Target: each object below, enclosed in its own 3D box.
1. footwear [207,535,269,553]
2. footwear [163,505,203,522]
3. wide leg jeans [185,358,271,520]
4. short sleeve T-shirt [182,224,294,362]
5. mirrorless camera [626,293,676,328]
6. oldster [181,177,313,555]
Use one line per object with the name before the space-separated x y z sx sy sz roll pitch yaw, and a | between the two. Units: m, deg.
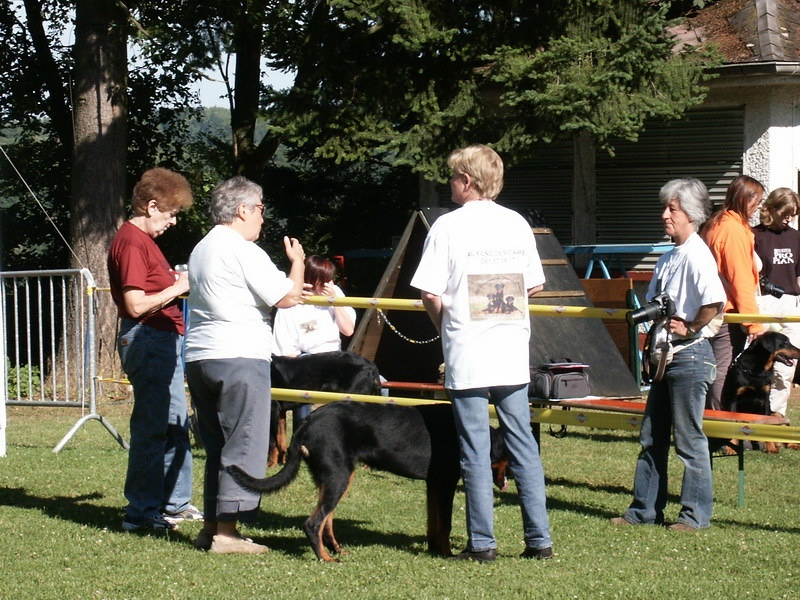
footwear | -1.396 2.112 11.736 0.552 0.186 0.177 2 -1 -8
footwear | -1.969 1.944 12.364 0.373 0.155 0.130 -4 1 -10
wide leg jeans | -1.460 1.205 11.651 0.686 1.429 0.502 -1 14 -7
short sleeve T-shirt | -1.399 -0.045 11.629 0.907 1.142 0.453 0 13 -3
mirrorless camera | 2.187 0.092 11.979 0.399 0.211 0.250 -20 19 -24
oldster | -1.362 0.580 12.056 1.215 3.193 1.229 2 1 43
